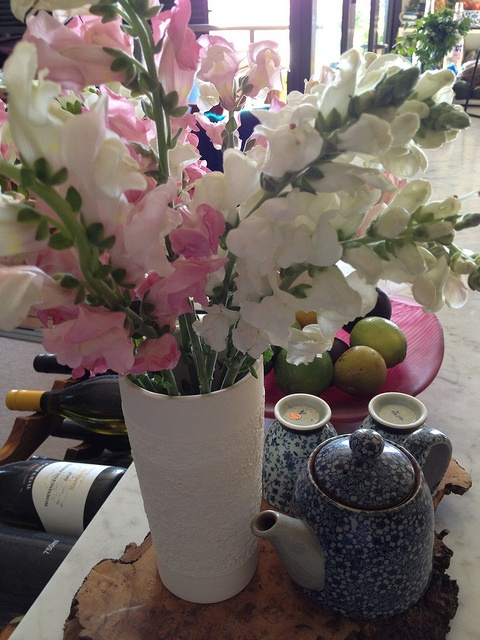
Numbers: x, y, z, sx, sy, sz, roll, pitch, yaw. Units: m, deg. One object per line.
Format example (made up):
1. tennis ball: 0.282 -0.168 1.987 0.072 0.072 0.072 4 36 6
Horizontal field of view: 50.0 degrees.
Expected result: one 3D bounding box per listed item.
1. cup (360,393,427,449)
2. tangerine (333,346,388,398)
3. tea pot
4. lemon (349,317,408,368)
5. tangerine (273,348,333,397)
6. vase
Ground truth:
1. cup: 0.173 0.116 0.620 0.066 0.055 0.056 -1 46 -11
2. tangerine: 0.174 0.076 0.753 0.085 0.061 0.065 -29 29 -32
3. tea pot: 0.099 0.191 0.473 0.124 0.203 0.134 0 26 0
4. lemon: 0.233 0.042 0.867 0.076 0.067 0.092 3 22 -33
5. tangerine: 0.088 0.078 0.806 0.088 0.093 0.076 -1 44 5
6. vase: -0.020 0.165 0.499 0.153 0.203 0.136 -11 -9 2
